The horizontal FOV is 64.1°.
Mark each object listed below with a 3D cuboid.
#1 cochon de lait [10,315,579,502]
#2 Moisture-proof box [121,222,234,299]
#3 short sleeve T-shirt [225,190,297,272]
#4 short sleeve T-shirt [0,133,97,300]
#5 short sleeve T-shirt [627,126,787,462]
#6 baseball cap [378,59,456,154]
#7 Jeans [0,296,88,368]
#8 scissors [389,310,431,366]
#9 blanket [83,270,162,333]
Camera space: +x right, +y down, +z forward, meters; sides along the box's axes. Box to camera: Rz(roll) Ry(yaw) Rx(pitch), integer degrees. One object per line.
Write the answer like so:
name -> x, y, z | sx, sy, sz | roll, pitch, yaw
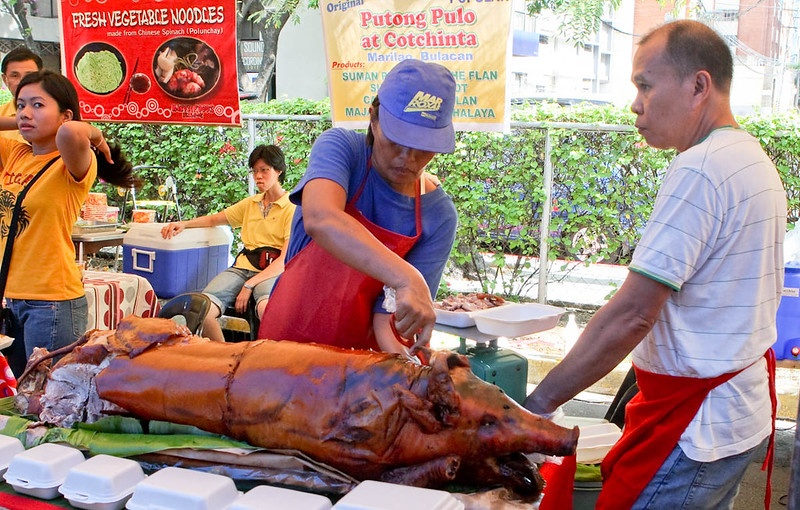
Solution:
cochon de lait -> -0.649, 0.350, 2.513 | 2.506, 0.659, 0.684 | 6, -7, 10
Moisture-proof box -> -2.269, 0.007, 6.437 | 0.722, 0.621, 0.958 | 10, 9, 27
short sleeve T-shirt -> -1.288, -0.241, 5.940 | 0.746, 0.759, 0.435 | 10, 7, 12
short sleeve T-shirt -> -2.017, -0.195, 3.557 | 0.568, 0.854, 0.336 | 6, 8, 6
short sleeve T-shirt -> 1.070, 0.125, 2.208 | 0.634, 1.133, 0.229 | 4, 8, -5
baseball cap -> 0.043, -0.588, 2.473 | 0.259, 0.194, 0.372 | 5, 35, -25
Jeans -> -1.846, 0.382, 3.265 | 0.352, 0.477, 0.283 | 6, 0, 25
scissors -> 0.005, 0.346, 2.567 | 0.075, 0.223, 0.159 | -28, 3, -30
blanket -> -2.160, 0.332, 4.840 | 0.618, 0.304, 0.626 | 4, 7, 27
